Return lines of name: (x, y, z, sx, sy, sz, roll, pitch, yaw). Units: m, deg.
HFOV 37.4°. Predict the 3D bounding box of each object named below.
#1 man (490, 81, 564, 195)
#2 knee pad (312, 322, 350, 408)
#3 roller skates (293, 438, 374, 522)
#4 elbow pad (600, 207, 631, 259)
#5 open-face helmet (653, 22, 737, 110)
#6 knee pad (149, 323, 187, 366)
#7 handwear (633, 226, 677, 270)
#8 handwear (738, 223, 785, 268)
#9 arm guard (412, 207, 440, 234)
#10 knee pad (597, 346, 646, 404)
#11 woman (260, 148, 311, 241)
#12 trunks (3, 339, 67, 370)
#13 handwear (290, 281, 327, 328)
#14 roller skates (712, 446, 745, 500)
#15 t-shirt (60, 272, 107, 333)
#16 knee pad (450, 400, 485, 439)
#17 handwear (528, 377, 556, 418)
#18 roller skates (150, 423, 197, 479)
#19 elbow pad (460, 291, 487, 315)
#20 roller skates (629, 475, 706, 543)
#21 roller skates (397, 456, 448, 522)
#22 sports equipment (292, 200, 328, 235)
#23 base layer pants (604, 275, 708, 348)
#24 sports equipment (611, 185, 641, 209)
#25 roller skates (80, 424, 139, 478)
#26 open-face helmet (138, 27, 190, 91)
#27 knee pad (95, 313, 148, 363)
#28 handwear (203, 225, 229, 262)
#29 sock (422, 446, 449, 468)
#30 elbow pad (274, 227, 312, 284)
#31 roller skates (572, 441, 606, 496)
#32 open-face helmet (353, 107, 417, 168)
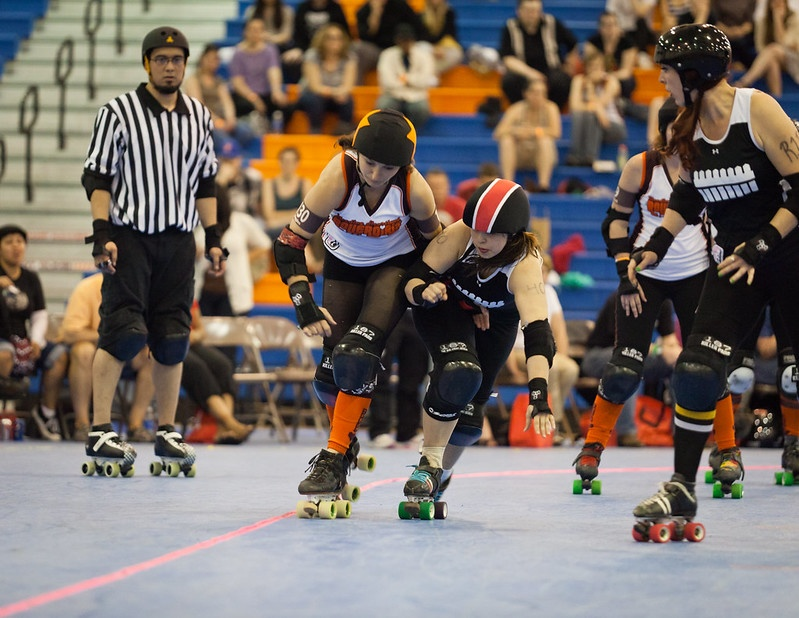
man: (1.519, -2.069, 13.985, 0.781, 1.342, 0.597, 2, 3, 1)
knee pad: (-0.393, 0.337, 6.520, 0.136, 0.363, 0.234, 0, -17, 24)
roller skates: (-0.351, 0.941, 6.449, 0.181, 0.329, 0.689, -2, 2, 13)
elbow pad: (1.356, -0.463, 7.414, 0.193, 0.310, 0.106, 4, -7, -17)
open-face helmet: (1.485, -1.225, 5.972, 0.321, 0.440, 0.310, 2, 3, 14)
knee pad: (-1.415, 0.218, 7.320, 0.166, 0.171, 0.235, -3, -12, -20)
handwear: (1.411, -0.343, 6.500, 0.098, 0.179, 0.273, -4, -29, -28)
handwear: (1.783, -0.316, 5.833, 0.151, 0.268, 0.098, 40, 0, 20)
arm guard: (0.151, -0.469, 6.396, 0.119, 0.120, 0.096, -28, -9, 42)
knee pad: (1.356, 0.394, 7.254, 0.188, 0.409, 0.176, 15, 37, 0)
woman: (-1.266, -1.289, 12.881, 0.611, 1.210, 0.837, 2, 0, 6)
trunks: (-3.199, 0.393, 10.269, 0.574, 0.244, 0.202, 1, 3, -36)
handwear: (-0.497, -0.027, 6.359, 0.168, 0.246, 0.284, 1, 3, -18)
roller skates: (2.083, 1.013, 7.345, 0.146, 0.342, 0.534, -3, -9, 13)
t-shirt: (-2.675, -0.049, 10.009, 0.221, 0.523, 0.511, 20, 8, 18)
knee pad: (0.360, 0.592, 6.404, 0.123, 0.181, 0.094, 20, -17, 6)
handwear: (0.697, 0.436, 5.900, 0.101, 0.187, 0.074, -4, -22, 0)
roller skates: (-1.420, 0.907, 7.430, 0.163, 0.375, 0.445, 4, -6, -37)
elbow pad: (0.392, -0.024, 6.370, 0.114, 0.102, 0.126, 13, -5, -12)
roller skates: (1.283, 0.986, 5.773, 0.329, 0.403, 0.225, 6, -8, -23)
roller skates: (0.131, 0.935, 6.306, 0.250, 0.300, 0.355, 2, 3, 2)
sports equipment: (-0.484, -0.482, 6.434, 0.160, 0.172, 0.166, 26, 30, -22)
base layer pants: (1.620, 0.053, 7.464, 0.400, 0.575, 0.201, 9, -24, -10)
sports equipment: (1.420, -0.696, 7.409, 0.122, 0.115, 0.135, 9, 4, 0)
roller skates: (-1.822, 0.885, 7.418, 0.313, 0.327, 0.233, 4, 3, 20)
open-face helmet: (-1.499, -1.570, 7.394, 0.265, 0.448, 0.376, -3, -1, -21)
knee pad: (-1.694, 0.162, 7.306, 0.277, 0.243, 0.141, 23, 13, 39)
handwear: (-1.175, -0.427, 7.532, 0.145, 0.235, 0.097, -7, 1, -8)
sock: (0.195, 0.780, 6.340, 0.098, 0.113, 0.109, 4, -2, -40)
elbow pad: (-0.586, -0.290, 6.429, 0.189, 0.312, 0.121, -8, 8, -21)
roller skates: (1.142, 0.979, 7.235, 0.114, 0.279, 0.378, 1, -8, 7)
open-face helmet: (-0.064, -0.901, 6.161, 0.261, 0.199, 0.316, 19, 32, -13)
